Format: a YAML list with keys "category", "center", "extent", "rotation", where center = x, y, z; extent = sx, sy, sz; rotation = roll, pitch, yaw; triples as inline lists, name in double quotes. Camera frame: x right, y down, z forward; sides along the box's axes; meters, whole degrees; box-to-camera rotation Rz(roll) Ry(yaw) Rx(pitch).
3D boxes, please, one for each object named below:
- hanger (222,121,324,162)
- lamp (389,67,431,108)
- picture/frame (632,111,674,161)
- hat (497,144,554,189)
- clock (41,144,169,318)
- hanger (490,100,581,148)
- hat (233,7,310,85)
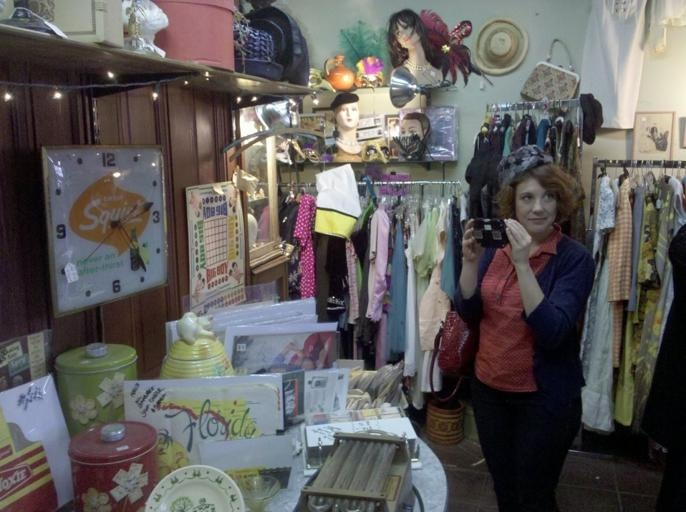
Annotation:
- category: "hanger"
  center: [-0.383, -0.653, 2.978]
  extent: [0.427, 0.149, 0.470]
  rotation: [-16, 18, 1]
- category: "lamp"
  center: [0.540, -1.287, 4.047]
  extent: [0.318, 0.346, 0.239]
  rotation: [-12, 21, -21]
- category: "picture/frame"
  center: [2.130, -0.819, 3.582]
  extent: [0.237, 0.378, 0.012]
  rotation: [16, 51, 40]
- category: "hat"
  center: [0.713, -0.346, 2.044]
  extent: [0.175, 0.099, 0.146]
  rotation: [-20, -10, 19]
- category: "clock"
  center: [-0.712, -0.088, 1.554]
  extent: [0.051, 0.523, 0.491]
  rotation: [4, 8, 24]
- category: "hanger"
  center: [1.322, -0.919, 3.646]
  extent: [0.637, 0.319, 0.601]
  rotation: [0, 15, 16]
- category: "hat"
  center: [-0.287, -0.896, 2.260]
  extent: [0.385, 0.316, 0.153]
  rotation: [-1, 14, -25]
